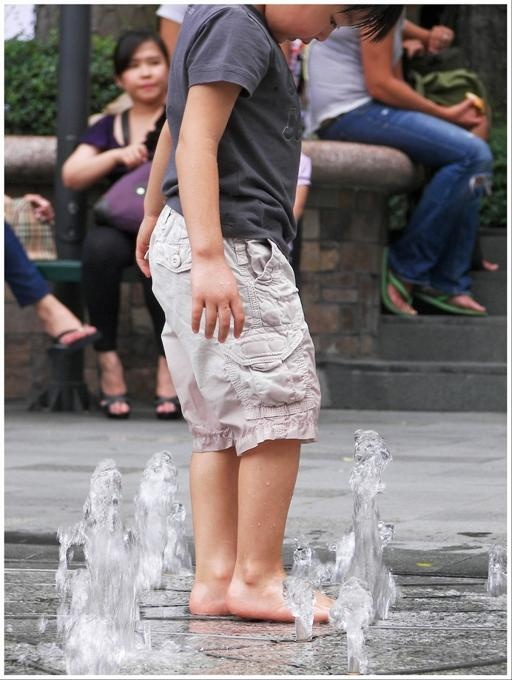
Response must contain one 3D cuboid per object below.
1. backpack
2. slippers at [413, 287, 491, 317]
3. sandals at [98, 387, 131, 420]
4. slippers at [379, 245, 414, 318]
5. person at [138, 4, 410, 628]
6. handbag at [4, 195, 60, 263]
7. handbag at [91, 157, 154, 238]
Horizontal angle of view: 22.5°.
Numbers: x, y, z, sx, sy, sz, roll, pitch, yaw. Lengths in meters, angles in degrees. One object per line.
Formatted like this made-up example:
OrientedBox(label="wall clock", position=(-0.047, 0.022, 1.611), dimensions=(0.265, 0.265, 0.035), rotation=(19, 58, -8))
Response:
OrientedBox(label="backpack", position=(0.714, -0.863, 4.555), dimensions=(0.314, 0.255, 0.135), rotation=(4, -7, -38))
OrientedBox(label="slippers", position=(0.674, -0.125, 4.372), dimensions=(0.253, 0.068, 0.091), rotation=(22, 2, -14))
OrientedBox(label="sandals", position=(-0.490, 0.222, 4.484), dimensions=(0.102, 0.077, 0.286), rotation=(0, -3, -11))
OrientedBox(label="slippers", position=(0.471, -0.194, 4.425), dimensions=(0.064, 0.261, 0.087), rotation=(-15, -5, -39))
OrientedBox(label="person", position=(-0.015, -0.057, 2.226), dimensions=(0.377, 1.038, 0.463), rotation=(0, 7, 4))
OrientedBox(label="handbag", position=(-0.797, -0.396, 4.603), dimensions=(0.169, 0.188, 0.257), rotation=(-1, 2, -9))
OrientedBox(label="handbag", position=(-0.437, -0.514, 4.333), dimensions=(0.231, 0.237, 0.062), rotation=(-45, 35, -16))
